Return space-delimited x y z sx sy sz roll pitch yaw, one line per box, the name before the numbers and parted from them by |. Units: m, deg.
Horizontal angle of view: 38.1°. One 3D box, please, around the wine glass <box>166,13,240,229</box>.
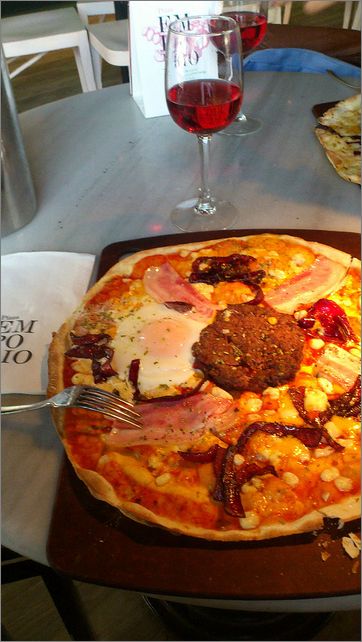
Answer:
wine glass | 0.038 -0.302 0.784 0.113 0.269 0.243 3 37 12
